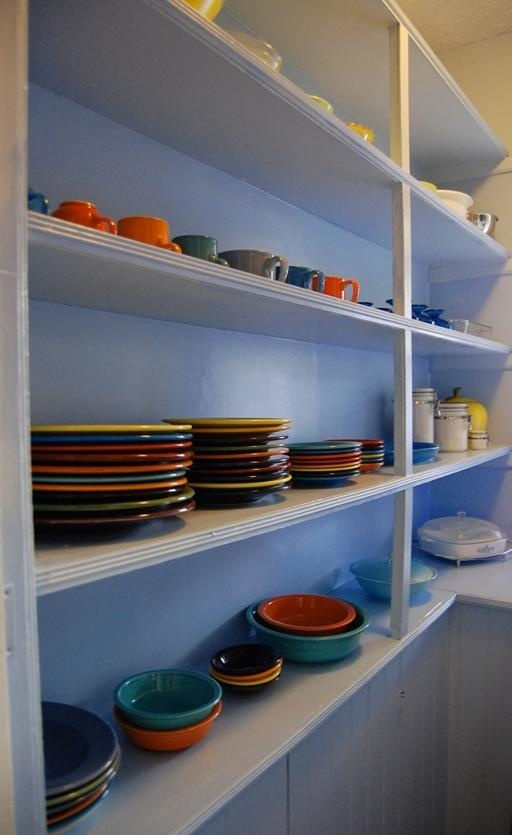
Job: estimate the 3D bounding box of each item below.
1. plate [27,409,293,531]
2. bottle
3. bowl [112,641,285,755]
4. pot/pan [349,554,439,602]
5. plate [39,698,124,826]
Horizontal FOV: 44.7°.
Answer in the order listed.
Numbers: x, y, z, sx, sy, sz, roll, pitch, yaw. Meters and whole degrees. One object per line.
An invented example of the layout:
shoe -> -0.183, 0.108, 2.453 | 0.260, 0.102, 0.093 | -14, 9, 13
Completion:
plate -> -0.121, 0.075, 0.896 | 0.163, 0.107, 0.505 | -3, -1, 28
bottle -> 0.637, 0.015, 2.227 | 0.334, 0.265, 0.216 | -1, 0, 34
bowl -> -0.111, 0.480, 1.080 | 0.117, 0.056, 0.226 | 6, 8, 35
pot/pan -> 0.387, 0.468, 1.791 | 0.174, 0.105, 0.212 | -1, -9, 24
plate -> -0.240, 0.464, 0.854 | 0.096, 0.098, 0.218 | -2, -1, -21
